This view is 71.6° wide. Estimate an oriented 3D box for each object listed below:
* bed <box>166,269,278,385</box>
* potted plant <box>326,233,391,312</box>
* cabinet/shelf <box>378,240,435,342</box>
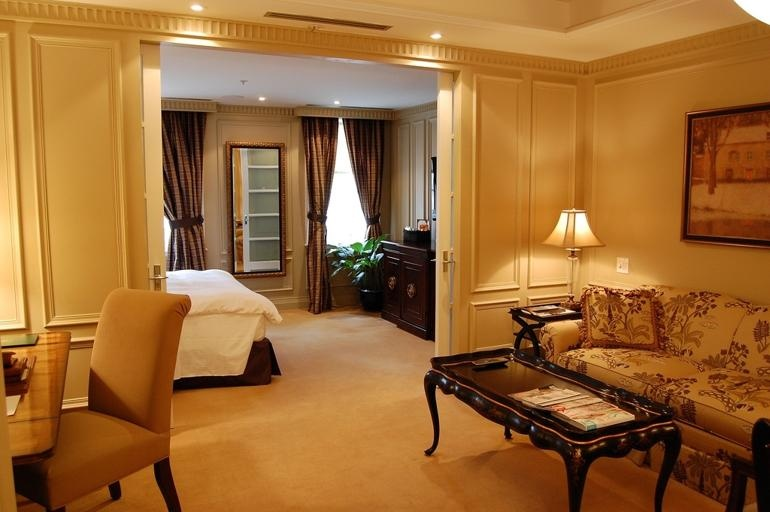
[{"bbox_3d":[-1.656,0.713,5.405,1.131,0.426,1.113,1,6,-13],"label":"bed"},{"bbox_3d":[-0.386,0.193,8.553,1.070,1.069,1.134,-4,6,-34],"label":"potted plant"},{"bbox_3d":[0.307,0.474,7.052,0.481,1.043,1.228,0,5,-22],"label":"cabinet/shelf"}]
